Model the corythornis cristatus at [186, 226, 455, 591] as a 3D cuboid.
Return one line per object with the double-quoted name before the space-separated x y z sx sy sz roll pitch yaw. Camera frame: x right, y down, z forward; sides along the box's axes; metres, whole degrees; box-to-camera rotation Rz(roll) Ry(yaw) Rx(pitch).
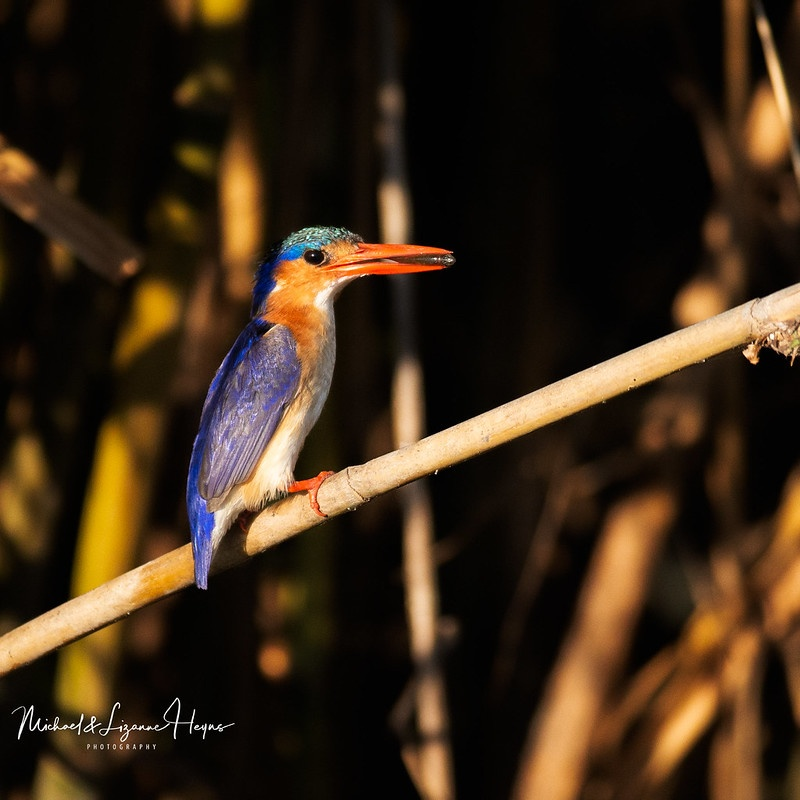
"corythornis cristatus" -0.292 -0.032 3.300 0.737 0.893 0.587 1 4 -37
